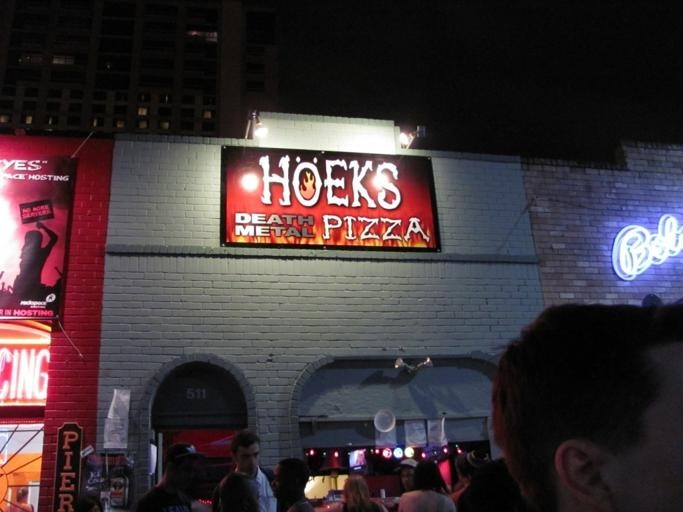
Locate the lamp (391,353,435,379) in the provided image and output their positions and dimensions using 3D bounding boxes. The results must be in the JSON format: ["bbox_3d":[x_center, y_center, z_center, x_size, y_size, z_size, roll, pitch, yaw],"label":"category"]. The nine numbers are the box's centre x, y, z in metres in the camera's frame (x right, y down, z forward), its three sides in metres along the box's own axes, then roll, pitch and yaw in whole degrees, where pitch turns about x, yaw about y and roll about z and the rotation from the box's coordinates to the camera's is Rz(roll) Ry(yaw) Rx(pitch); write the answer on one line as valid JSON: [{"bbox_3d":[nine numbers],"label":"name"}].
[{"bbox_3d":[1.203,1.794,11.730,0.697,0.302,0.390,0,-14,-9],"label":"lamp"}]

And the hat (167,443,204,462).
[{"bbox_3d":[-1.590,1.958,7.206,0.231,0.107,0.168,-5,-11,-13],"label":"hat"}]
